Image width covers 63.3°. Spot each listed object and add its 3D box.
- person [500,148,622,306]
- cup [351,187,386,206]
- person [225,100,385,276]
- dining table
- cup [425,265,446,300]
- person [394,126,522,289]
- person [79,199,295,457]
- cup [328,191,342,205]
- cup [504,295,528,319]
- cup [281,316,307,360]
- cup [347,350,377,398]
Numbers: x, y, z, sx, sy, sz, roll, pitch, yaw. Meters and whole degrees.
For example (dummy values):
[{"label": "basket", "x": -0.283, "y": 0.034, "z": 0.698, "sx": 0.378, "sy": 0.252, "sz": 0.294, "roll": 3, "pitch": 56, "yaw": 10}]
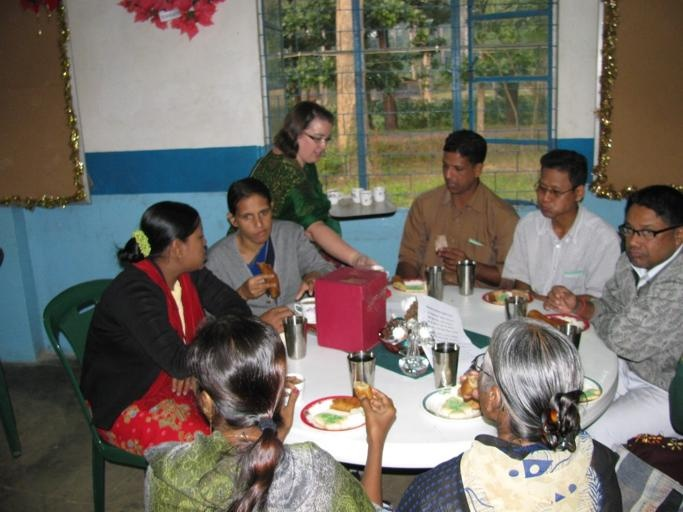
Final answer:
[{"label": "person", "x": 1.311, "y": -0.126, "z": 3.370, "sx": 0.593, "sy": 1.027, "sz": 0.662, "roll": -21, "pitch": 26, "yaw": -34}, {"label": "cup", "x": 0.227, "y": -0.472, "z": 4.405, "sx": 0.222, "sy": 0.096, "sz": 0.148, "roll": -3, "pitch": 5, "yaw": -38}, {"label": "person", "x": -0.214, "y": -0.740, "z": 4.025, "sx": 1.102, "sy": 1.732, "sz": 0.886, "roll": 5, "pitch": 36, "yaw": -4}, {"label": "dining table", "x": 0.362, "y": 0.450, "z": 2.036, "sx": 0.707, "sy": 0.262, "sz": 0.710, "roll": -2, "pitch": 13, "yaw": -4}, {"label": "cup", "x": 0.505, "y": 0.160, "z": 3.005, "sx": 0.141, "sy": 0.172, "sz": 0.144, "roll": 0, "pitch": 8, "yaw": 0}, {"label": "person", "x": 0.790, "y": -0.222, "z": 3.804, "sx": 0.828, "sy": 1.226, "sz": 0.719, "roll": 9, "pitch": 26, "yaw": 27}, {"label": "person", "x": -0.762, "y": 0.468, "z": 2.722, "sx": 0.999, "sy": 1.400, "sz": 0.612, "roll": 10, "pitch": 14, "yaw": 15}, {"label": "cup", "x": -0.055, "y": -0.467, "z": 4.434, "sx": 0.075, "sy": 0.086, "sz": 0.114, "roll": 0, "pitch": 4, "yaw": 5}, {"label": "cup", "x": 0.835, "y": 0.242, "z": 2.712, "sx": 0.117, "sy": 0.135, "sz": 0.120, "roll": 0, "pitch": 4, "yaw": 0}, {"label": "cup", "x": -0.198, "y": 0.358, "z": 2.429, "sx": 0.110, "sy": 0.169, "sz": 0.114, "roll": -1, "pitch": 11, "yaw": 0}, {"label": "cup", "x": 0.085, "y": 0.458, "z": 2.158, "sx": 0.096, "sy": 0.157, "sz": 0.101, "roll": -3, "pitch": 11, "yaw": 1}]
